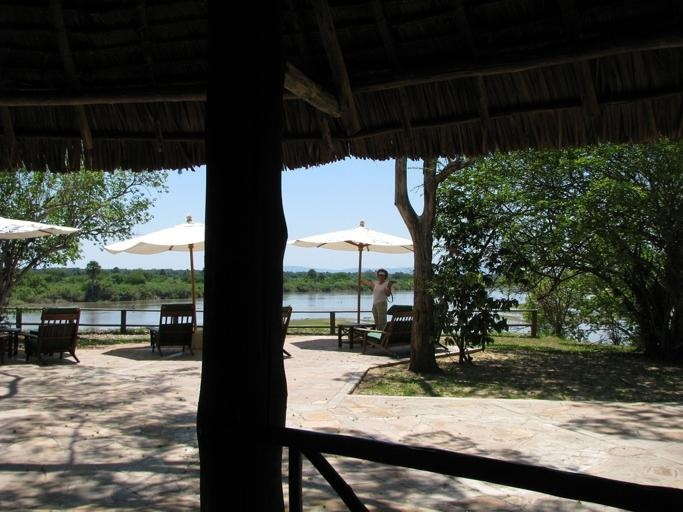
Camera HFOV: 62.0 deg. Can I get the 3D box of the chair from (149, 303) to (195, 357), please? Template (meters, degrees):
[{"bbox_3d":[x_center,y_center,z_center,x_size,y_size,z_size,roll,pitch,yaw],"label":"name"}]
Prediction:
[{"bbox_3d":[-3.854,1.613,13.044,0.978,1.131,1.377,3,-8,-22],"label":"chair"}]

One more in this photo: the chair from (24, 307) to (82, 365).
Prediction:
[{"bbox_3d":[-5.897,1.627,11.520,0.880,0.969,1.102,5,-16,-44],"label":"chair"}]

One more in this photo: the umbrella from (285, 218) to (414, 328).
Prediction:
[{"bbox_3d":[0.205,0.337,15.256,3.038,2.224,3.226,-3,-5,30],"label":"umbrella"}]

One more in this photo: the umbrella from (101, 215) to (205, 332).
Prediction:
[{"bbox_3d":[-4.122,0.288,13.088,1.889,2.604,2.052,-3,0,-17],"label":"umbrella"}]

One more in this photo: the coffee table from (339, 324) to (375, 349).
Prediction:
[{"bbox_3d":[0.241,1.991,14.324,0.711,0.479,0.692,3,-5,-39],"label":"coffee table"}]
